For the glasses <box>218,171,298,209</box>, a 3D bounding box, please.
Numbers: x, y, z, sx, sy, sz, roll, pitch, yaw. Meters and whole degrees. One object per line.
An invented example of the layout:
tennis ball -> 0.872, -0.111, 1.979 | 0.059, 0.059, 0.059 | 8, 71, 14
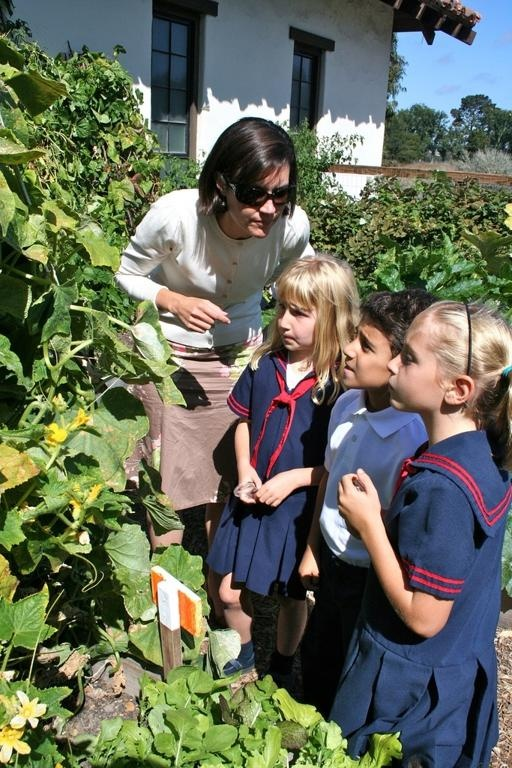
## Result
glasses -> -0.012, -0.533, 1.528 | 0.125, 0.039, 0.121 | -4, 32, -28
